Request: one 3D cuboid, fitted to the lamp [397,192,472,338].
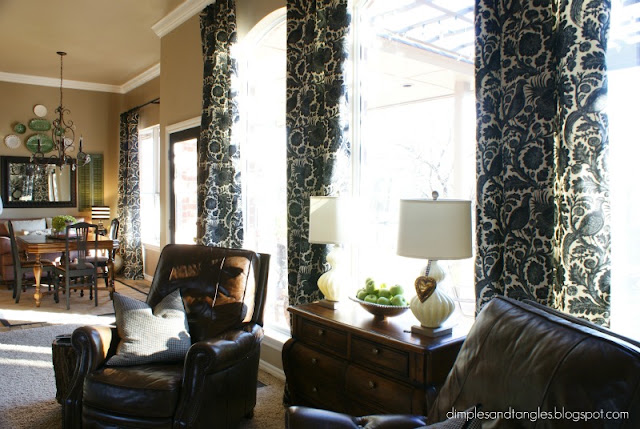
[{"bbox_3d":[0.716,0.324,3.161,0.471,0.864,0.478,5,-7,10],"label":"lamp"}]

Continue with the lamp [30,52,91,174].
[{"bbox_3d":[-4.130,-1.531,7.957,0.829,1.988,1.971,-1,0,-29],"label":"lamp"}]

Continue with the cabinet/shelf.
[{"bbox_3d":[0.326,1.115,3.604,1.077,0.864,0.660,12,13,28],"label":"cabinet/shelf"}]

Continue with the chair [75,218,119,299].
[{"bbox_3d":[-3.271,0.665,7.332,0.789,1.094,0.785,1,-8,5],"label":"chair"}]

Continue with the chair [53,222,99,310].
[{"bbox_3d":[-3.269,0.662,6.822,0.445,1.092,0.487,-2,1,-40],"label":"chair"}]

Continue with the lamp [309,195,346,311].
[{"bbox_3d":[0.047,0.277,3.693,0.257,0.819,0.186,-1,0,-1],"label":"lamp"}]

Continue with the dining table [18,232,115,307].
[{"bbox_3d":[-3.573,0.760,7.301,1.293,0.889,1.354,0,4,-16],"label":"dining table"}]

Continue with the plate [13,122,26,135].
[{"bbox_3d":[-5.025,-1.454,8.357,0.124,0.170,0.170,17,57,47],"label":"plate"}]
